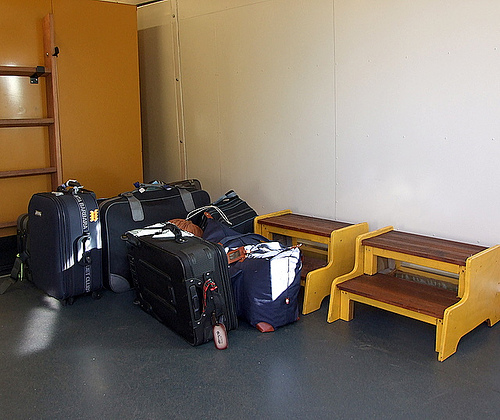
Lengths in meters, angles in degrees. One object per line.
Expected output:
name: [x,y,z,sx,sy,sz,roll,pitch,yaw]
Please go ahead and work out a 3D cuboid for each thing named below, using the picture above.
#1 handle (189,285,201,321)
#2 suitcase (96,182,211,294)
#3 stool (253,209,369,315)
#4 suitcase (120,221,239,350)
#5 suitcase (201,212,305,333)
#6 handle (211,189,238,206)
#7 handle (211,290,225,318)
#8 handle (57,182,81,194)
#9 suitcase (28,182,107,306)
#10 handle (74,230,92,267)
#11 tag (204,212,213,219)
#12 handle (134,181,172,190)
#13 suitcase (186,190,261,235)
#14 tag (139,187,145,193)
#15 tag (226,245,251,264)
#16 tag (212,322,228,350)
handle: [-0.303,0.524,2.246,0.059,0.205,0.021,-6,12,-22]
suitcase: [-0.739,0.214,3.246,0.907,0.883,0.331,-9,5,-39]
stool: [0.395,0.363,3.077,0.669,0.579,0.715,-4,8,-40]
suitcase: [-0.440,0.418,2.543,0.350,0.636,0.849,-20,25,-39]
suitcase: [-0.008,0.388,2.789,0.470,0.619,0.850,-3,10,-34]
handle: [-0.197,-0.059,3.382,0.168,0.068,0.142,-21,34,-8]
handle: [-0.177,0.536,2.315,0.040,0.172,0.092,6,14,28]
handle: [-1.300,-0.165,2.886,0.118,0.049,0.085,-7,4,34]
suitcase: [-1.265,0.270,2.807,0.607,0.996,0.423,11,15,42]
handle: [-1.151,0.272,2.771,0.043,0.213,0.135,4,7,20]
tag: [-0.314,0.043,3.063,0.040,0.012,0.040,50,6,26]
handle: [-0.761,-0.185,3.174,0.160,0.046,0.115,3,9,-9]
suitcase: [-0.222,0.005,3.239,0.380,0.402,0.385,13,30,41]
tag: [-0.831,-0.147,3.114,0.036,0.040,0.009,-7,0,-24]
tag: [-0.080,0.283,2.504,0.118,0.076,0.028,-21,-14,-25]
tag: [-0.170,0.717,2.287,0.087,0.146,0.077,-1,12,-2]
